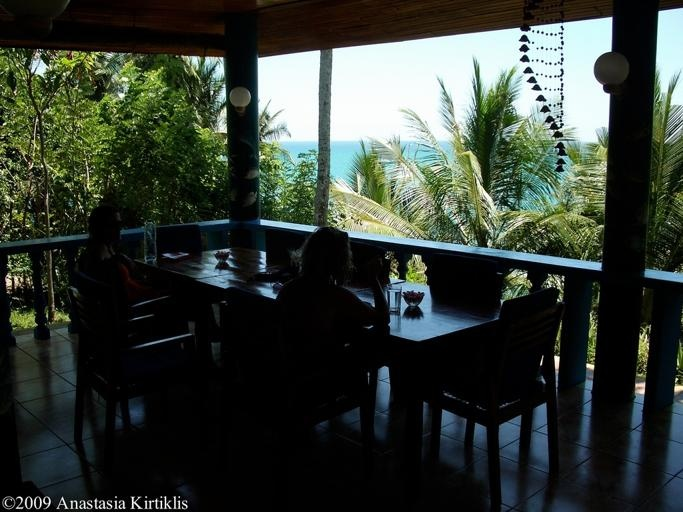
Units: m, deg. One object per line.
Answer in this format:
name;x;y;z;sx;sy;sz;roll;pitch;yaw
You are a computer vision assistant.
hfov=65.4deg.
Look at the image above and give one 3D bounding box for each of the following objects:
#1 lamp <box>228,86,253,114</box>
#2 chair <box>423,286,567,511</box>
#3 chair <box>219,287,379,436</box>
lamp;-1.084;-1.733;5.973;0.300;0.319;0.321;-1;7;-5
chair;0.890;0.713;2.950;0.529;1.137;0.691;12;17;43
chair;-0.184;0.586;2.857;0.872;0.916;0.502;-2;13;-13
